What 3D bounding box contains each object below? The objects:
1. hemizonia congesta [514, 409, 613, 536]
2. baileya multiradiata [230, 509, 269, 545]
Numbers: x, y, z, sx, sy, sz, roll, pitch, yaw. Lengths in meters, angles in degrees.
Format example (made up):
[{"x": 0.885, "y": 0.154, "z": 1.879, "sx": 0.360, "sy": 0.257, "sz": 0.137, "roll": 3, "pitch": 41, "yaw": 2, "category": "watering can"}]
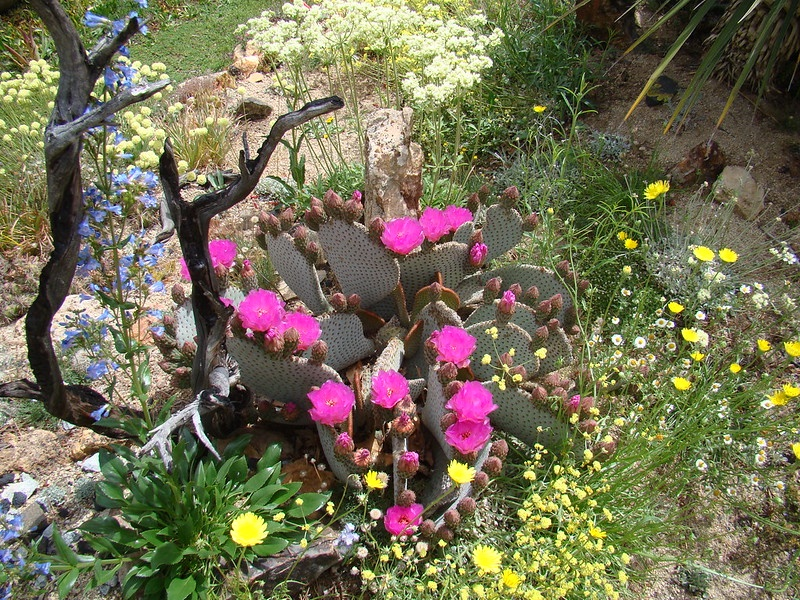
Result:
[{"x": 0.662, "y": 0.718, "z": 2.397, "sx": 0.386, "sy": 0.432, "sz": 0.537, "roll": 16, "pitch": 65, "yaw": 5, "category": "hemizonia congesta"}, {"x": -0.542, "y": 0.824, "z": 2.168, "sx": 0.115, "sy": 0.115, "sz": 0.110, "roll": -12, "pitch": 66, "yaw": -9, "category": "baileya multiradiata"}]
